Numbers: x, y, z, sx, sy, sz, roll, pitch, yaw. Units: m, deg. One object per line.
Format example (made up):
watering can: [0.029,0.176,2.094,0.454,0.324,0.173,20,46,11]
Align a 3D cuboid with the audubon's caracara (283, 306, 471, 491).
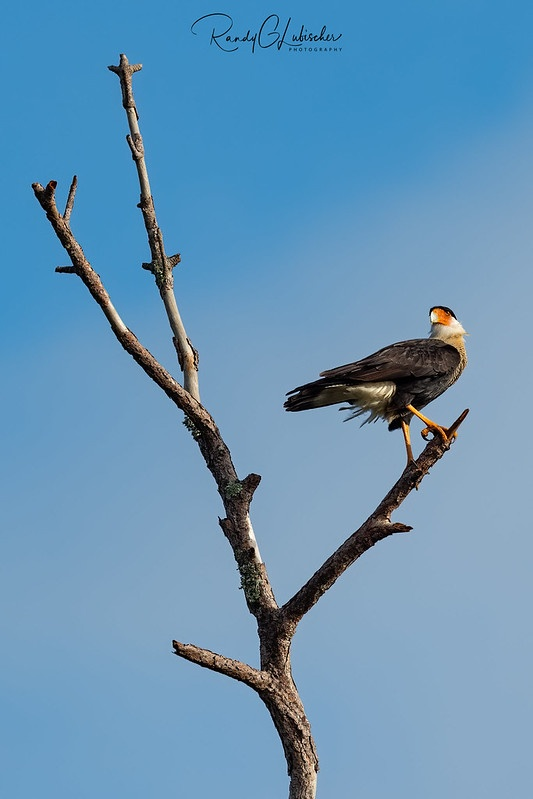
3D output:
audubon's caracara: [0.856,-0.196,10.813,1.521,1.330,0.476,6,-26,-16]
